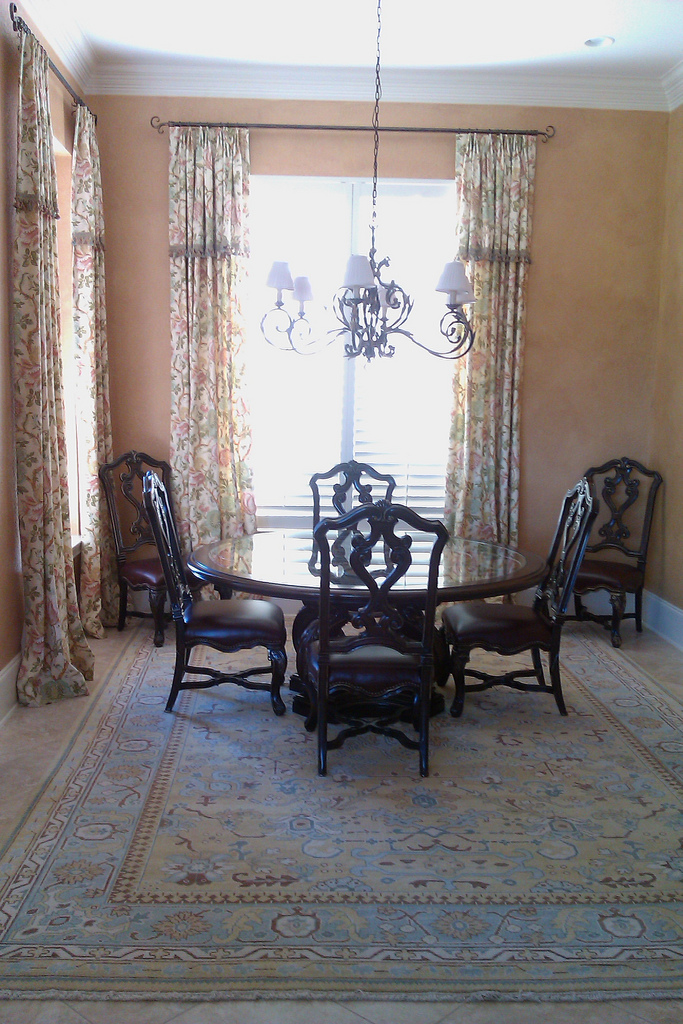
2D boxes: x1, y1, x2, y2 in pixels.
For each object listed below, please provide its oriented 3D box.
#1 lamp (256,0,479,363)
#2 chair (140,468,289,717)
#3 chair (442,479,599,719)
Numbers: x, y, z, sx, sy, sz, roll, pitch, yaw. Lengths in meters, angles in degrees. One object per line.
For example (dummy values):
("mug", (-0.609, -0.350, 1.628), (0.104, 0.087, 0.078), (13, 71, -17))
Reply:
("lamp", (0.168, -1.385, 3.649), (1.036, 1.503, 1.698), (0, 7, -5))
("chair", (-0.468, 0.308, 3.171), (0.517, 0.837, 0.417), (1, 8, -4))
("chair", (0.668, 0.315, 3.274), (0.570, 0.893, 0.495), (0, 6, -7))
